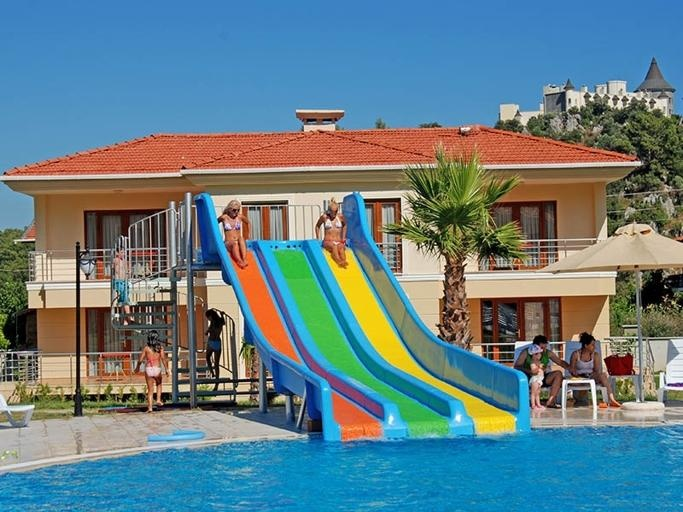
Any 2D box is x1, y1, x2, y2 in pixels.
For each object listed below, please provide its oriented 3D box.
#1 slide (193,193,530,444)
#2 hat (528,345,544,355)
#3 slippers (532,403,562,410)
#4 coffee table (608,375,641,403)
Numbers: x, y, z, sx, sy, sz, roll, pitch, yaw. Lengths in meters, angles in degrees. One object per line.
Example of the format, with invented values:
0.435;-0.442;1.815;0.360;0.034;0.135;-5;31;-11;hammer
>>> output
0.208;1.179;24.584;3.974;5.677;6.744;0;-5;-34;slide
4.493;2.170;25.138;0.213;0.140;0.263;1;-5;-15;hat
4.795;3.492;25.043;0.535;0.142;0.197;-4;-1;13;slippers
7.353;3.455;28.288;1.022;0.792;1.050;-2;-4;-2;coffee table
